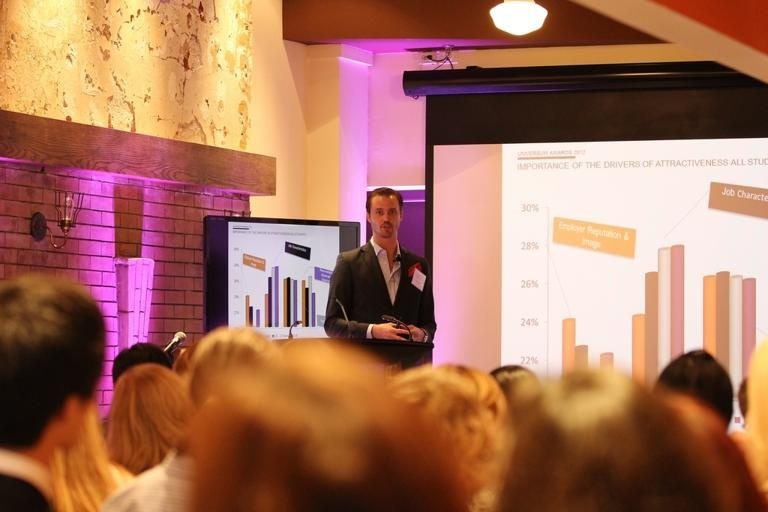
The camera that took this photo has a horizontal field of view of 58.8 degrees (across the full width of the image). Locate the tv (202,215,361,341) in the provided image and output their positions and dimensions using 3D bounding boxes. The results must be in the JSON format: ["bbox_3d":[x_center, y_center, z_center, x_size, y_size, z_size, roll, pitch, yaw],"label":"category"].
[{"bbox_3d":[-0.699,0.147,4.398,0.766,0.622,0.080,1,-3,-22],"label":"tv"}]

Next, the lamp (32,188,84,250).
[{"bbox_3d":[-1.864,-0.204,3.904,0.142,0.335,0.241,0,-3,35],"label":"lamp"}]
